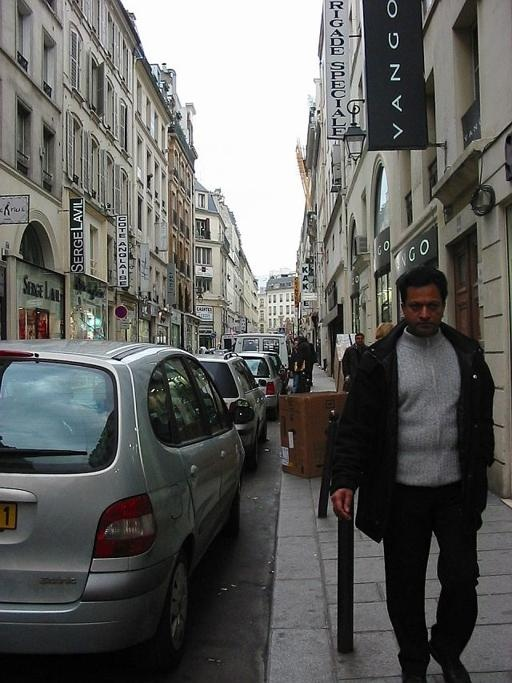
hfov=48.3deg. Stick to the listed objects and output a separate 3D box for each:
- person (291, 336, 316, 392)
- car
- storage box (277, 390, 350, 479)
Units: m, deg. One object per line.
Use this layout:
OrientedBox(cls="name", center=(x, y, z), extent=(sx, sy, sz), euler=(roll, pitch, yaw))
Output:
OrientedBox(cls="person", center=(1.294, 0.603, 15.772), extent=(0.662, 1.574, 1.573), euler=(-1, -4, 4))
OrientedBox(cls="car", center=(-0.206, 0.830, 8.811), extent=(0.653, 1.009, 2.076), euler=(-1, 6, 10))
OrientedBox(cls="storage box", center=(0.828, 1.092, 7.906), extent=(0.665, 1.770, 1.413), euler=(4, 7, 28))
